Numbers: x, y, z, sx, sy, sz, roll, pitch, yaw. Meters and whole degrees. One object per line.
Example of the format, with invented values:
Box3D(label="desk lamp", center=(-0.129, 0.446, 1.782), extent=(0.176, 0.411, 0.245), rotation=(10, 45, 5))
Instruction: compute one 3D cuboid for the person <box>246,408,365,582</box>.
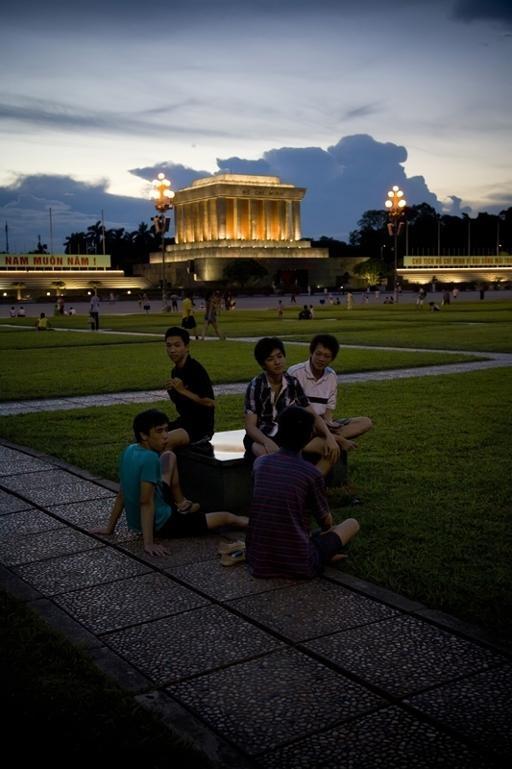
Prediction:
Box3D(label="person", center=(0.269, 0.663, 3.755), extent=(0.632, 1.050, 0.364), rotation=(-3, 3, -29))

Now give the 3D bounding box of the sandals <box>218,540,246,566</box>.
Box3D(label="sandals", center=(-0.159, 1.107, 4.008), extent=(0.119, 0.059, 0.166), rotation=(9, 17, 31))

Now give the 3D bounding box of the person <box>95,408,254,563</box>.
Box3D(label="person", center=(-0.666, 0.661, 4.600), extent=(0.743, 0.983, 0.652), rotation=(-4, 4, -43))

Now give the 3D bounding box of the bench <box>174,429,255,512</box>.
Box3D(label="bench", center=(-0.372, 0.863, 5.347), extent=(0.543, 0.391, 0.552), rotation=(-3, -7, 33))
